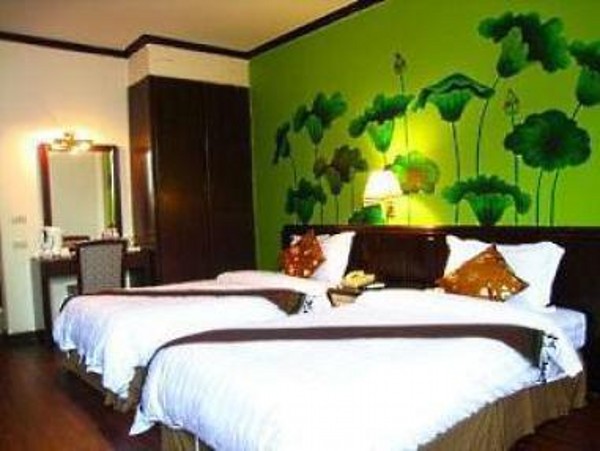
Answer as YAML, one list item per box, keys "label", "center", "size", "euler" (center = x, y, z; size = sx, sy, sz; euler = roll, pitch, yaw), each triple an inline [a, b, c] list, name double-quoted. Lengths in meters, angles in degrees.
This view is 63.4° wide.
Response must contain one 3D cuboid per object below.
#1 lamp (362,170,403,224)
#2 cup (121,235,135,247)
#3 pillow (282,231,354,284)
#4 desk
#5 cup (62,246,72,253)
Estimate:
- label: "lamp"
  center: [0.730, -0.299, 4.633]
  size: [0.393, 0.613, 0.440]
  euler: [-4, 9, 4]
- label: "cup"
  center: [-1.889, 0.175, 5.337]
  size: [0.104, 0.221, 0.105]
  euler: [2, 4, 0]
- label: "pillow"
  center: [0.301, 0.276, 4.727]
  size: [0.430, 0.481, 0.131]
  euler: [12, -7, 44]
- label: "desk"
  center: [-1.927, 0.669, 4.381]
  size: [0.851, 0.819, 0.333]
  euler: [-3, 3, -43]
- label: "cup"
  center: [-2.491, 0.257, 5.226]
  size: [0.060, 0.064, 0.065]
  euler: [1, 0, 0]
